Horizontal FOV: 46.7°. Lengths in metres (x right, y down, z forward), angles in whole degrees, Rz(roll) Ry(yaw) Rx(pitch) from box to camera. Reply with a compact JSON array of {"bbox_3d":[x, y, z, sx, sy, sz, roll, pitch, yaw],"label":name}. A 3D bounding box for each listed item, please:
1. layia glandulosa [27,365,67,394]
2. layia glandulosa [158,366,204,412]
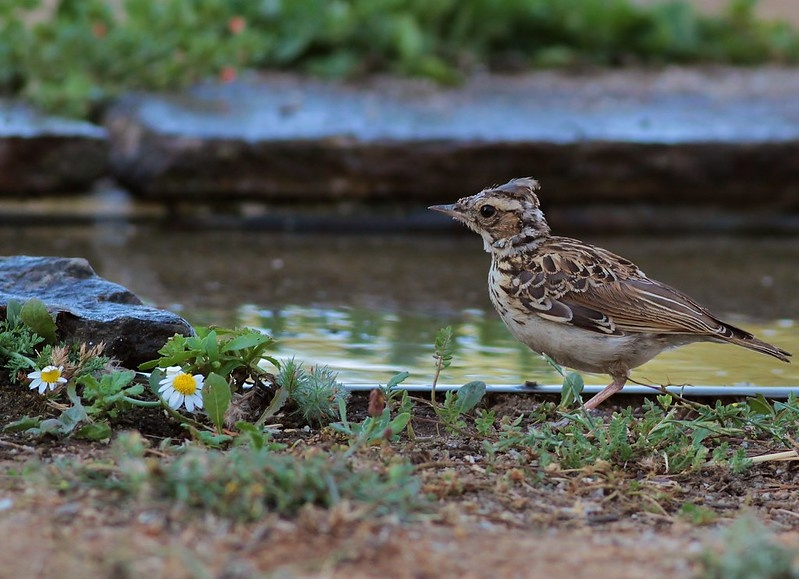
[{"bbox_3d":[-1.623,0.412,4.220,0.164,0.137,0.154,-11,33,-17],"label":"layia glandulosa"},{"bbox_3d":[-0.987,0.452,4.186,0.281,0.073,0.177,-1,70,-20],"label":"layia glandulosa"}]
